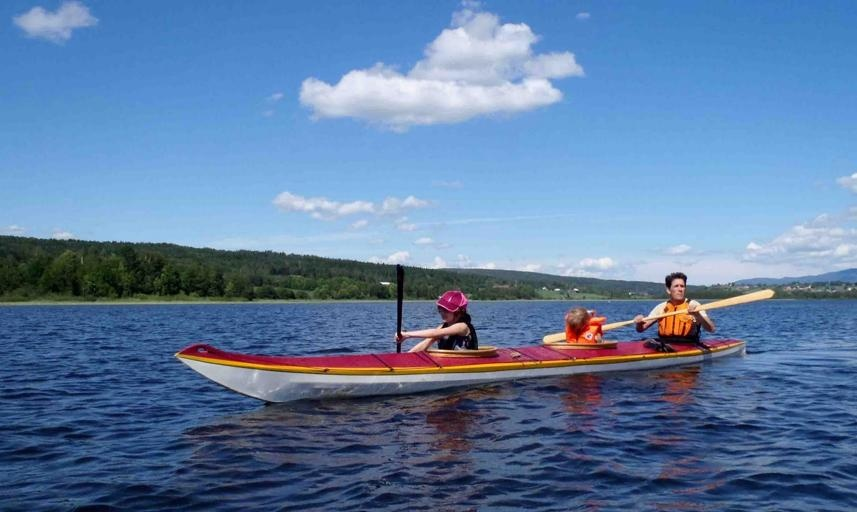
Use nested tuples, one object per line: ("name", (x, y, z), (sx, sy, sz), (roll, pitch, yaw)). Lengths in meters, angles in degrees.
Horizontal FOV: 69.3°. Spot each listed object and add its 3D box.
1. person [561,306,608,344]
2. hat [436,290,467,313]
("person", (4.048, 1.715, 16.292), (1.005, 0.503, 1.120), (-12, 22, -8))
("hat", (0.627, 1.028, 14.281), (0.514, 0.299, 0.649), (3, -9, 20))
